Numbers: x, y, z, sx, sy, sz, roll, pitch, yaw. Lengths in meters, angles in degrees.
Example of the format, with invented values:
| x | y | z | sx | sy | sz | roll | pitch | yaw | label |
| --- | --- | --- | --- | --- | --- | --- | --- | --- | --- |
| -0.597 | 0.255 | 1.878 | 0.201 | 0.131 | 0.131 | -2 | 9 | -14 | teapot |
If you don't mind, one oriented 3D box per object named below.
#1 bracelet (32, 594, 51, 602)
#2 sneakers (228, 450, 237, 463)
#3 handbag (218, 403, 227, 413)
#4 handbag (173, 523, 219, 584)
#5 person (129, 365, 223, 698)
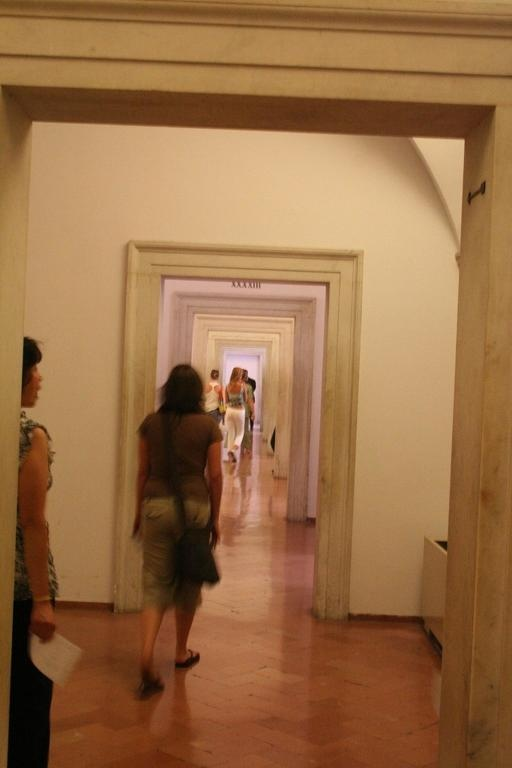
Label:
| x | y | z | sx | sy | sz | roll | pitch | yaw | label |
| --- | --- | --- | --- | --- | --- | --- | --- | --- | --- |
| -0.608 | 0.612 | 1.979 | 0.019 | 0.018 | 0.046 | 2 | -2 | 40 | bracelet |
| -0.533 | 1.617 | 15.446 | 0.135 | 0.356 | 0.284 | -1 | 5 | 0 | sneakers |
| -0.650 | 0.461 | 13.380 | 0.113 | 0.181 | 0.266 | -2 | -9 | 1 | handbag |
| -0.312 | 0.891 | 3.521 | 0.194 | 0.316 | 0.187 | -19 | -30 | 2 | handbag |
| -0.399 | 0.753 | 3.587 | 0.451 | 1.255 | 0.618 | 2 | -1 | -24 | person |
